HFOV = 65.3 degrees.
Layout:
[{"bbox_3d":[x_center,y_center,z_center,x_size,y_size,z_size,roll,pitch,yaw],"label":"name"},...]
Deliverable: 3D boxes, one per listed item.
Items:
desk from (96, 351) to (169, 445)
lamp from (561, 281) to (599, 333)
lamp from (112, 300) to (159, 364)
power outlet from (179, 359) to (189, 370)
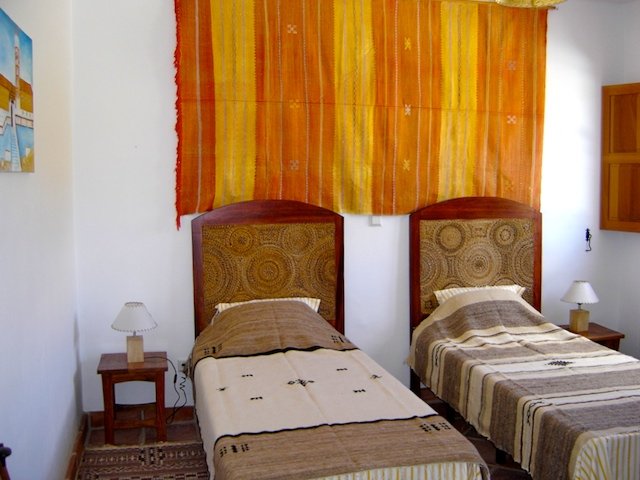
[{"bbox_3d":[-1.319,1.150,3.826,0.532,0.682,0.562,0,-3,-13],"label":"desk"},{"bbox_3d":[2.317,0.602,4.427,0.263,0.434,0.269,-1,-4,26],"label":"lamp"},{"bbox_3d":[-1.364,0.684,3.687,0.315,0.456,0.336,3,4,14],"label":"lamp"},{"bbox_3d":[-1.076,0.978,3.923,0.076,0.113,0.113,2,-3,-20],"label":"power outlet"}]
